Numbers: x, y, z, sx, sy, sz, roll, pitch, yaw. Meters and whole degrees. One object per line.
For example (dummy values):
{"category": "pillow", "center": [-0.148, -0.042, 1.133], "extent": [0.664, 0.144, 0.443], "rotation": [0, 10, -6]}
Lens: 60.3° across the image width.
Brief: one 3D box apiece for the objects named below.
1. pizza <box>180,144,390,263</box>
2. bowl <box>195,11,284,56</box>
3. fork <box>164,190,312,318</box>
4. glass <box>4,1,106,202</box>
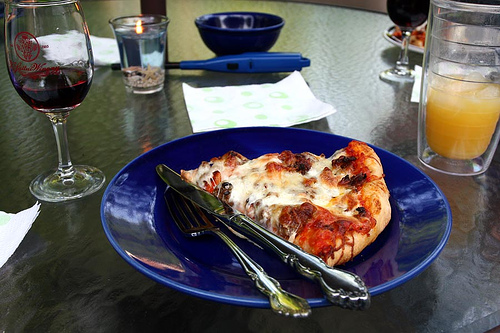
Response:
{"category": "pizza", "center": [0.072, 0.046, 0.715], "extent": [0.249, 0.048, 0.199], "rotation": [12, 31, 15]}
{"category": "bowl", "center": [-0.031, -0.379, 1.342], "extent": [0.225, 0.088, 0.221], "rotation": [0, 10, 0]}
{"category": "fork", "center": [-0.042, 0.125, 0.659], "extent": [0.052, 0.026, 0.344], "rotation": [-24, 40, -30]}
{"category": "glass", "center": [-0.351, -0.105, 0.851], "extent": [0.163, 0.395, 0.189], "rotation": [-16, 31, -29]}
